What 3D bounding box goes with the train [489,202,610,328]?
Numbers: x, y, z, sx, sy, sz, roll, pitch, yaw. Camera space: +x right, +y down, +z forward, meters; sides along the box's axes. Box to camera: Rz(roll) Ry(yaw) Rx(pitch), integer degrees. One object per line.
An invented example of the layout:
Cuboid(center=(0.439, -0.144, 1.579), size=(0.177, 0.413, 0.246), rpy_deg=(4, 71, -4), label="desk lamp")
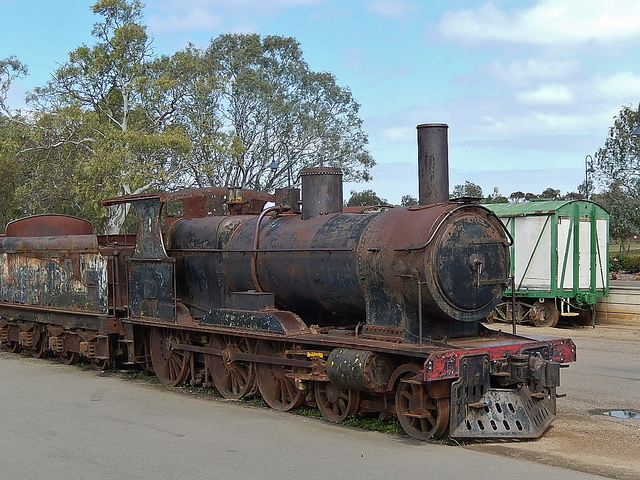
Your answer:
Cuboid(center=(7.827, 0.863, 20.218), size=(2.903, 4.431, 4.686), rpy_deg=(1, -1, -24), label="train")
